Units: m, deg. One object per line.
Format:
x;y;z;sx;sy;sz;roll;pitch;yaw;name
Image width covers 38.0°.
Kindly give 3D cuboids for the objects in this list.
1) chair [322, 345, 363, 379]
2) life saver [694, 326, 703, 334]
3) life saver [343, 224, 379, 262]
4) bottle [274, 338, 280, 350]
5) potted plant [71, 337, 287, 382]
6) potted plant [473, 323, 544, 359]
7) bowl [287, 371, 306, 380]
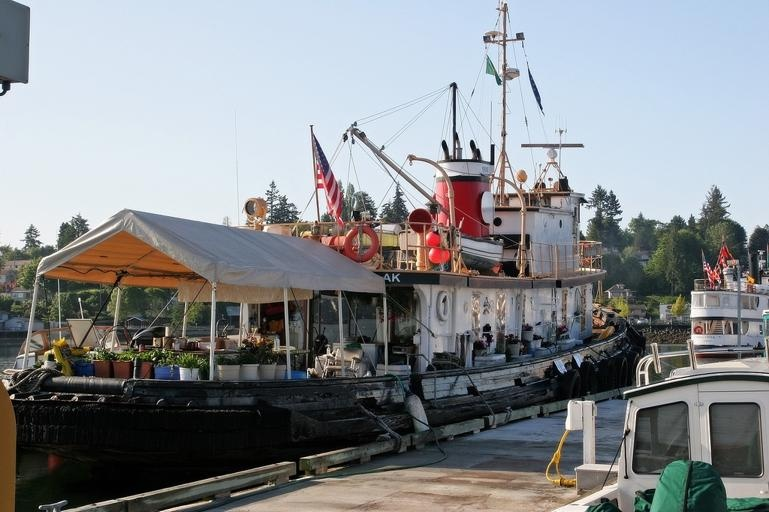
-0.829;2.102;22.408;0.625;0.826;0.711;-1;-17;9;chair
12.371;2.879;44.125;0.309;0.294;0.043;-1;-3;-8;life saver
-0.500;-0.291;23.278;0.768;0.770;0.209;3;-4;-3;life saver
-2.269;1.843;23.540;0.176;0.330;0.176;-1;-5;0;bottle
-3.794;2.023;20.928;3.879;0.664;1.664;0;-8;-7;potted plant
2.747;1.972;26.260;0.615;0.867;2.235;1;2;41;potted plant
-1.626;2.246;21.179;0.315;0.190;0.823;-1;-8;-2;bowl
